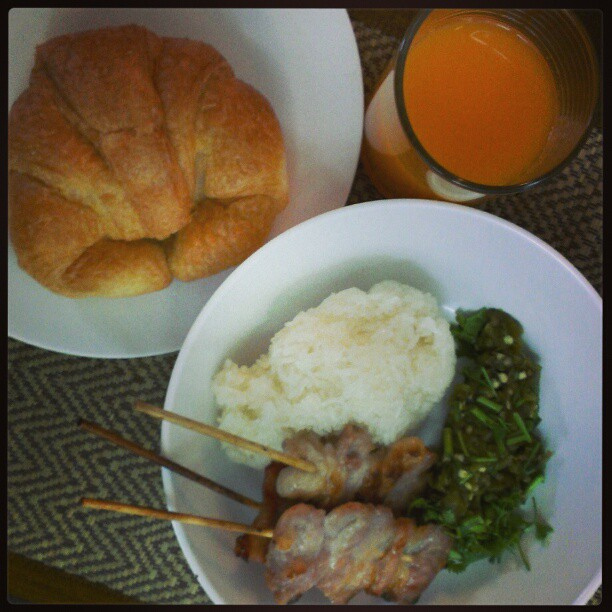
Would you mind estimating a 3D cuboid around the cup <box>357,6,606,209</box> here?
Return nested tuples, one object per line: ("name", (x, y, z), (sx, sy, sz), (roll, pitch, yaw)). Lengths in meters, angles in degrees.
("cup", (0.287, -0.338, 1.305), (0.309, 0.371, 0.417), (26, 99, -7))

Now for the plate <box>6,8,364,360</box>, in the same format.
("plate", (-0.222, -0.327, 1.329), (0.535, 0.776, 0.466), (-20, 37, -30))

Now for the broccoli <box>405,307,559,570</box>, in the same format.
("broccoli", (0.364, 0.239, 1.347), (0.256, 0.131, 0.515), (6, 73, 8))
